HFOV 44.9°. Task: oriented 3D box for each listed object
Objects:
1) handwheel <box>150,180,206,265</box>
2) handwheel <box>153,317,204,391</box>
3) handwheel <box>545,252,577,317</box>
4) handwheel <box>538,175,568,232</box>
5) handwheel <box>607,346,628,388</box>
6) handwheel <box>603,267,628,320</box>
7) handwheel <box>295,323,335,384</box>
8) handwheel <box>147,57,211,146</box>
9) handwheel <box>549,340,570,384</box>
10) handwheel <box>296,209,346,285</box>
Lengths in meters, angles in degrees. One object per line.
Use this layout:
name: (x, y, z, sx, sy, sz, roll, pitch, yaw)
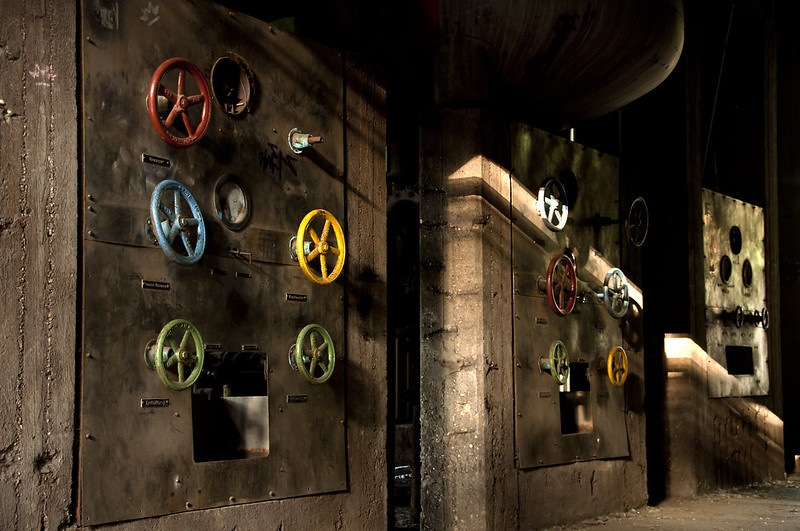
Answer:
handwheel: (-1.652, -0.315, 7.162, 0.140, 0.574, 0.480, -8, -14, 29)
handwheel: (-1.630, 0.637, 7.112, 0.103, 0.397, 0.363, -8, 24, 32)
handwheel: (1.555, 0.172, 9.415, 0.067, 0.589, 0.519, 3, 6, 37)
handwheel: (1.496, -0.612, 9.513, 0.079, 0.582, 0.444, -3, 5, 41)
handwheel: (2.231, 1.034, 9.988, 0.069, 0.463, 0.381, 3, 5, 33)
handwheel: (2.214, 0.276, 9.992, 0.064, 0.470, 0.420, -2, -12, 32)
handwheel: (-0.676, 0.706, 7.798, 0.106, 0.499, 0.445, -11, -11, 37)
handwheel: (-1.657, -1.228, 7.218, 0.095, 0.694, 0.568, 0, 5, 32)
handwheel: (1.529, 0.926, 9.332, 0.084, 0.413, 0.363, -5, -6, 38)
handwheel: (-0.618, -0.160, 7.879, 0.467, 0.578, 0.353, 0, -16, -19)
